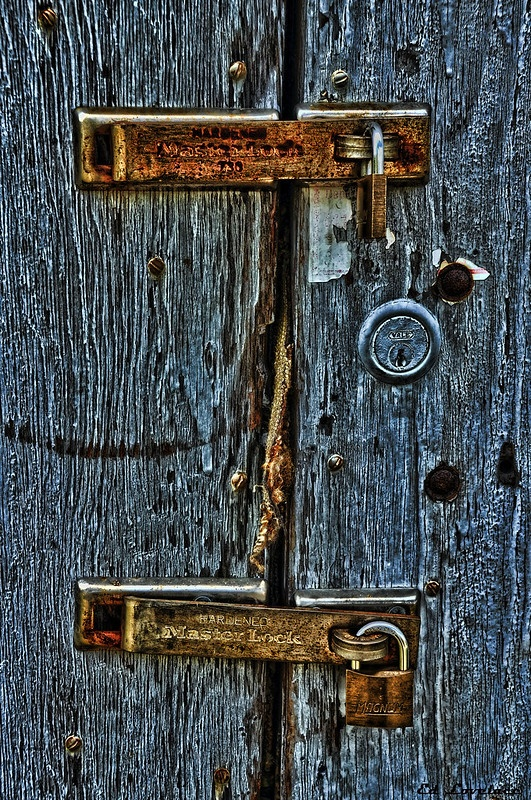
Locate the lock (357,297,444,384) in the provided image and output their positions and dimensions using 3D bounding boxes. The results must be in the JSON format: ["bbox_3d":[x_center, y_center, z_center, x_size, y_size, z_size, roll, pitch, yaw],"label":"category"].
[{"bbox_3d":[0.141,-0.063,1.253,0.087,0.019,0.081,-3,-73,0],"label":"lock"}]

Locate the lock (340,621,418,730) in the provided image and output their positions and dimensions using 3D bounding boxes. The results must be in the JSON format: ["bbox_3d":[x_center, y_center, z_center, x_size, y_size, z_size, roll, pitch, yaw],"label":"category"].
[{"bbox_3d":[0.120,0.289,1.236,0.067,0.136,0.031,0,-46,5],"label":"lock"}]
